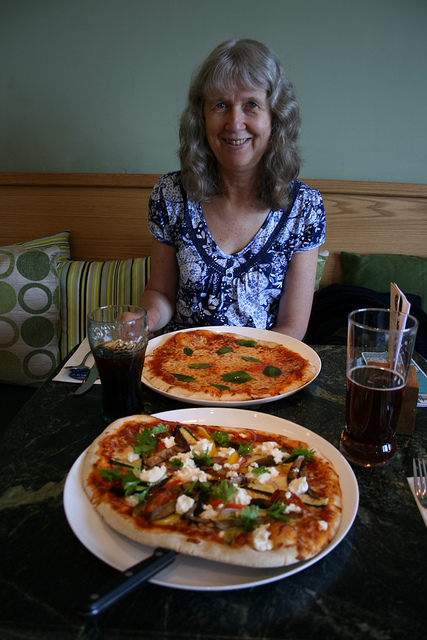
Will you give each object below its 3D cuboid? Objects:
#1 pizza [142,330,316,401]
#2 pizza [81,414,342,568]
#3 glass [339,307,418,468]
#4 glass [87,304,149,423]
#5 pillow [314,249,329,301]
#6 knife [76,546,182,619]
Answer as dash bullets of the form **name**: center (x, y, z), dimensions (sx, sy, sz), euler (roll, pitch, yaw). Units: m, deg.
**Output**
- **pizza**: center (0.028, 0.093, 1.133), dimensions (0.365, 0.044, 0.444), euler (1, 12, -7)
- **pizza**: center (-0.008, 0.212, 0.640), dimensions (0.225, 0.030, 0.160), euler (7, 22, 16)
- **glass**: center (0.251, 0.095, 0.804), dimensions (0.097, 0.238, 0.176), euler (7, 13, 19)
- **glass**: center (-0.172, 0.076, 0.921), dimensions (0.105, 0.188, 0.227), euler (0, 12, -10)
- **pillow**: center (0.497, -0.212, 2.375), dimensions (0.048, 0.205, 0.240), euler (5, 12, 12)
- **knife**: center (-0.078, 0.247, 0.534), dimensions (0.035, 0.016, 0.153), euler (7, 9, 32)
